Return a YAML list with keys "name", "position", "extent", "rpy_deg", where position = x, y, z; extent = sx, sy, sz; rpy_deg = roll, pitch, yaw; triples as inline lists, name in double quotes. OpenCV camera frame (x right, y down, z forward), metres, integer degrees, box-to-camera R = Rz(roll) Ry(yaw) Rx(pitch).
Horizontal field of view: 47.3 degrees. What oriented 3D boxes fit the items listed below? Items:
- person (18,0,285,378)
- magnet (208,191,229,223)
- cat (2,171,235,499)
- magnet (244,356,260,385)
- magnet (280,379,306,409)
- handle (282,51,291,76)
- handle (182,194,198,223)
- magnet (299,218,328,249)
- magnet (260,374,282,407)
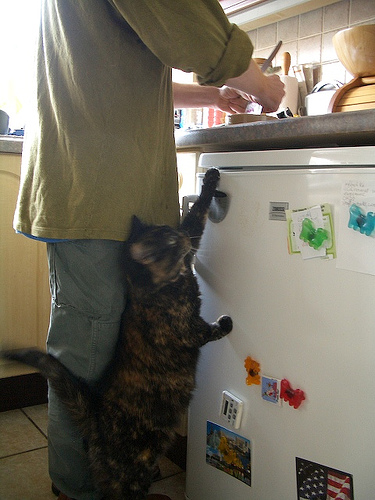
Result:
- name: "person"
  position: [-0.080, -0.092, 0.838]
  extent: [0.471, 0.729, 0.279]
  rpy_deg: [4, 4, -19]
- name: "magnet"
  position: [0.068, -0.098, 0.998]
  extent: [0.020, 0.070, 0.064]
  rpy_deg: [3, 4, -33]
- name: "cat"
  position: [-0.197, 0.243, 1.067]
  extent: [0.531, 0.813, 0.245]
  rpy_deg: [14, 7, -26]
- name: "magnet"
  position: [0.143, 0.270, 0.949]
  extent: [0.009, 0.063, 0.048]
  rpy_deg: [3, 4, -32]
- name: "magnet"
  position: [0.211, 0.296, 0.871]
  extent: [0.014, 0.035, 0.057]
  rpy_deg: [1, 23, -44]
- name: "handle"
  position: [0.370, -0.698, 1.612]
  extent: [0.029, 0.057, 0.044]
  rpy_deg: [5, 3, 10]
- name: "handle"
  position: [0.006, -0.109, 1.087]
  extent: [0.030, 0.062, 0.075]
  rpy_deg: [4, 3, -13]
- name: "magnet"
  position: [0.242, -0.023, 0.825]
  extent: [0.015, 0.046, 0.050]
  rpy_deg: [2, 26, 34]
- name: "magnet"
  position: [0.177, 0.296, 0.909]
  extent: [0.009, 0.042, 0.057]
  rpy_deg: [2, 4, -37]
